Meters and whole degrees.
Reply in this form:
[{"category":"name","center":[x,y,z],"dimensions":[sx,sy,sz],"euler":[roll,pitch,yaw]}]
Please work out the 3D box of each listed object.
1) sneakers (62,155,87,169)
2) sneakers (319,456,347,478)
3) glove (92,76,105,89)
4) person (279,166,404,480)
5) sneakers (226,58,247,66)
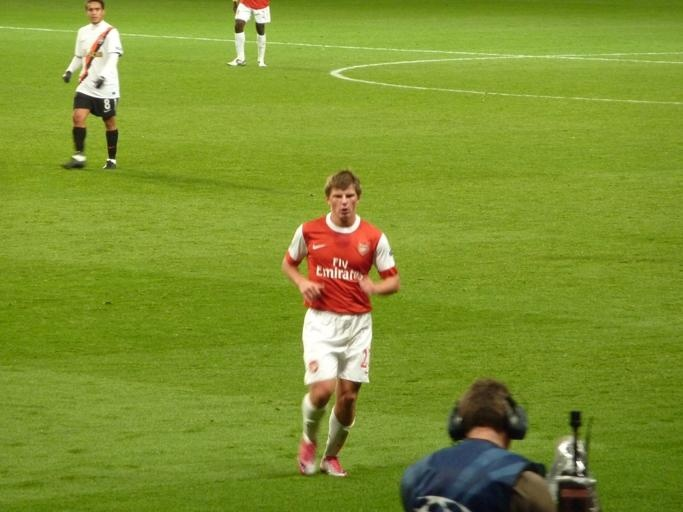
[{"category":"sneakers","center":[-3.533,-1.245,18.223],"dimensions":[0.372,0.143,0.135],"euler":[3,4,33]},{"category":"sneakers","center":[-0.091,1.642,10.780],"dimensions":[0.121,0.089,0.217],"euler":[1,-2,-24]},{"category":"glove","center":[-3.043,-2.194,17.526],"dimensions":[0.116,0.147,0.179],"euler":[21,5,34]},{"category":"person","center":[-0.047,0.519,10.739],"dimensions":[0.876,2.380,0.482],"euler":[2,3,-3]},{"category":"sneakers","center":[-2.278,-4.100,29.115],"dimensions":[0.445,0.174,0.156],"euler":[1,11,15]}]
